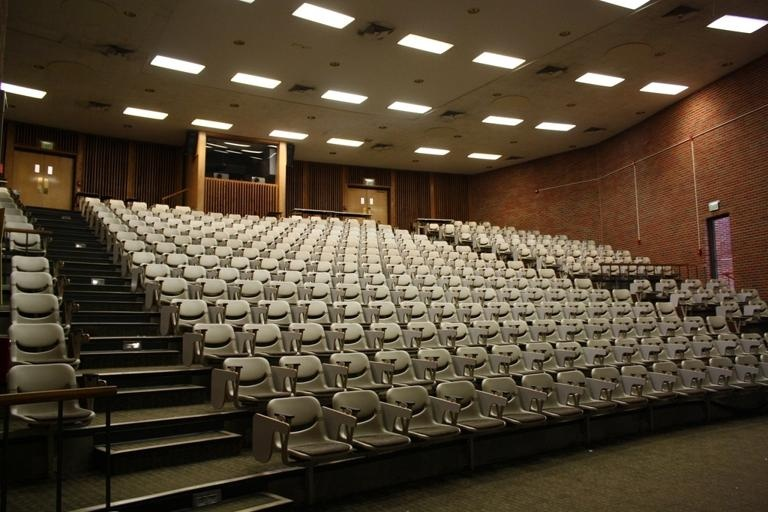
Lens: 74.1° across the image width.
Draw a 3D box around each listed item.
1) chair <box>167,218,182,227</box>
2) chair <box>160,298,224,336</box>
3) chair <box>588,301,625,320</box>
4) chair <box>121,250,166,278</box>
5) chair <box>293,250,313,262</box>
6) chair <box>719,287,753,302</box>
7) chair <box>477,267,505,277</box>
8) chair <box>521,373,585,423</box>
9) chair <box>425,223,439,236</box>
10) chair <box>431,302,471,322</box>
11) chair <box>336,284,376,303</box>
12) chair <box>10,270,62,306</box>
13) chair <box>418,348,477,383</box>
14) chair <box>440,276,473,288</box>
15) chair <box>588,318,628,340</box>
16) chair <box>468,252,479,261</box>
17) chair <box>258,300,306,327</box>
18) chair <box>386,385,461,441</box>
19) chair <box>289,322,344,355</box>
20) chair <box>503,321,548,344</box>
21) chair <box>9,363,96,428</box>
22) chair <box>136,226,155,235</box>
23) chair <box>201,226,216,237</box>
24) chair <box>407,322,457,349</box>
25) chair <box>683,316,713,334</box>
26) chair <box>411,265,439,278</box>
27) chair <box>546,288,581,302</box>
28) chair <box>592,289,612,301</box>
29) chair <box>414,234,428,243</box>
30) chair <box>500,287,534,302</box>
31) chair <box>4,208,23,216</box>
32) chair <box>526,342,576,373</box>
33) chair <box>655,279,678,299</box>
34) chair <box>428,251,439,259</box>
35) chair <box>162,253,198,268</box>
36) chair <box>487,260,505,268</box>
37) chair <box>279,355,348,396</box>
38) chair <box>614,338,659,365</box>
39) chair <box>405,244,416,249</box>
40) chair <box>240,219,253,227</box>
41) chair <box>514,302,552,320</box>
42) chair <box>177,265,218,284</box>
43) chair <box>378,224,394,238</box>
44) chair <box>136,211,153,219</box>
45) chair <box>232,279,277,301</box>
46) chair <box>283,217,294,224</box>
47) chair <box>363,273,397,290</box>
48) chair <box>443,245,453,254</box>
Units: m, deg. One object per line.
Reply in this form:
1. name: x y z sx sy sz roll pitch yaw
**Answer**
1. chair: -5.107 -0.794 12.340 0.250 0.266 0.261 0 0 -31
2. chair: -2.692 0.795 7.055 0.716 0.366 0.545 5 -15 -31
3. chair: 4.655 1.147 10.618 0.427 0.204 0.534 2 7 5
4. chair: -4.208 0.125 8.798 0.549 0.455 0.541 2 -8 -30
5. chair: -1.827 0.002 11.393 0.294 0.219 0.248 3 -15 -13
6. chair: 8.237 0.904 11.827 0.397 0.276 0.494 8 -11 -29
7. chair: 2.687 0.421 12.644 0.469 0.144 0.337 5 -6 -33
8. chair: 2.256 1.870 6.911 0.748 0.458 0.653 3 -8 -29
9. chair: 1.678 -0.901 17.371 0.472 0.469 0.432 1 -7 2
10. chair: 1.220 1.053 9.475 0.517 0.273 0.444 2 -10 -12
11. chair: -0.571 0.689 9.595 0.562 0.395 0.384 7 -13 -8
12. chair: -4.666 0.453 6.759 0.512 0.558 0.536 6 -13 -30
13. chair: 0.821 1.536 7.230 0.592 0.347 0.536 4 -7 -21
14. chair: 1.622 0.594 11.341 0.487 0.160 0.337 5 -10 -17
15. chair: 4.232 1.357 9.708 0.500 0.271 0.613 2 4 -2
16. chair: 2.484 0.005 14.137 0.285 0.213 0.596 -1 -3 6
17. chair: -1.589 0.900 7.930 0.497 0.470 0.460 4 -10 -24
18. chair: 0.472 1.822 6.004 0.734 0.389 0.621 9 -14 -35
19. chair: -0.943 1.185 7.293 0.607 0.307 0.531 2 -8 -16
20. chair: 2.500 1.350 8.970 0.650 0.297 0.449 2 -12 -19
21. chair: -3.251 1.266 4.949 0.849 0.553 0.804 5 -13 -39
22. chair: -5.085 -0.545 10.730 0.260 0.213 0.239 4 3 -40
23. chair: -4.290 -0.593 12.339 0.316 0.327 0.309 2 -2 -30
24. chair: 0.750 1.265 8.171 0.584 0.296 0.503 3 -11 -19
25. chair: 6.398 1.420 10.397 0.498 0.351 0.405 2 -12 -6
26. chair: 0.978 0.363 11.872 0.383 0.400 0.374 3 -12 -14
27. chair: 4.107 0.901 11.523 0.538 0.227 0.382 6 -7 -25
28. chair: 5.064 0.910 11.747 0.296 0.283 0.367 5 -14 -43
29. chair: 1.130 -0.500 15.452 0.301 0.315 0.322 3 -14 -12
30. chair: 2.887 0.876 11.214 0.415 0.428 0.411 2 -15 -3
31. chair: -7.232 -0.865 9.868 0.246 0.145 0.331 2 -4 -37
32. chair: 2.633 1.580 8.002 0.701 0.411 0.505 5 -12 -28
33. chair: 7.090 0.806 12.720 0.492 0.549 0.559 -3 -10 35
34. chair: 1.351 -0.021 13.732 0.239 0.225 0.201 8 -10 -33
35. chair: -3.762 0.083 9.301 0.306 0.334 0.317 4 -11 -36
36. chair: 3.034 0.238 13.493 0.262 0.275 0.276 3 -18 -5
37. chair: -0.861 1.453 6.243 0.605 0.342 0.616 4 -13 -27
38. chair: 4.390 1.654 8.833 0.664 0.497 0.483 1 -18 -4
39. chair: 0.742 -0.254 14.198 0.295 0.154 0.528 -1 -3 4
40. chair: -3.791 -0.903 14.013 0.278 0.268 0.256 3 -8 -31
41. chair: 2.938 1.096 10.058 0.469 0.509 0.469 3 -18 -9
42. chair: -3.288 0.296 8.845 0.400 0.374 0.354 4 -15 -35
43. chair: 0.063 -0.766 15.818 0.439 0.439 0.552 1 -6 -11
44. chair: -6.051 -1.050 12.799 0.286 0.297 0.286 1 -2 -33
45. chair: -2.247 0.593 8.707 0.480 0.432 0.407 3 -7 -22
46. chair: -2.796 -1.016 14.836 0.226 0.235 0.214 2 -8 -17
47. chair: -0.103 0.520 10.479 0.388 0.407 0.385 5 -14 -29
48. chair: 1.873 -0.193 14.803 0.258 0.284 0.265 -1 -19 10
